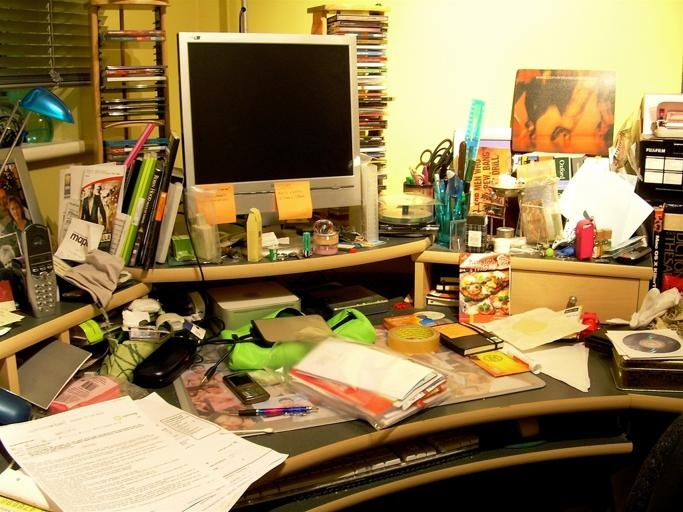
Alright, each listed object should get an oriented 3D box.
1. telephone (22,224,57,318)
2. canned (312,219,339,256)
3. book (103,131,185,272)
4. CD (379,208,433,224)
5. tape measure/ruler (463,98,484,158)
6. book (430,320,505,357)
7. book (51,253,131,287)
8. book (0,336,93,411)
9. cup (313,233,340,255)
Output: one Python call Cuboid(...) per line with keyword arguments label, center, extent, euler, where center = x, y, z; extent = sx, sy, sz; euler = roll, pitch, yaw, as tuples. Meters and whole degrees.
Cuboid(label="telephone", center=(-0.741, 0.030, 1.225), extent=(0.067, 0.222, 0.090), euler=(-10, 17, -31))
Cuboid(label="canned", center=(-0.066, -0.064, 1.581), extent=(0.098, 0.097, 0.096), euler=(6, 10, 38))
Cuboid(label="book", center=(-0.547, -0.155, 1.419), extent=(0.129, 0.335, 0.264), euler=(12, 1, -21))
Cuboid(label="CD", center=(0.226, -0.144, 1.755), extent=(0.185, 0.047, 0.103), euler=(1, 14, 4))
Cuboid(label="tape measure/ruler", center=(0.485, -0.441, 1.813), extent=(0.022, 0.257, 0.066), euler=(-12, 25, -36))
Cuboid(label="book", center=(0.359, 0.246, 1.491), extent=(0.153, 0.040, 0.197), euler=(-6, 13, -26))
Cuboid(label="book", center=(-0.699, 0.059, 1.381), extent=(0.120, 0.037, 0.114), euler=(15, 24, -23))
Cuboid(label="book", center=(-0.688, 0.279, 1.173), extent=(0.137, 0.115, 0.137), euler=(5, 16, 22))
Cuboid(label="cup", center=(-0.051, -0.045, 1.558), extent=(0.077, 0.048, 0.072), euler=(1, 11, 0))
